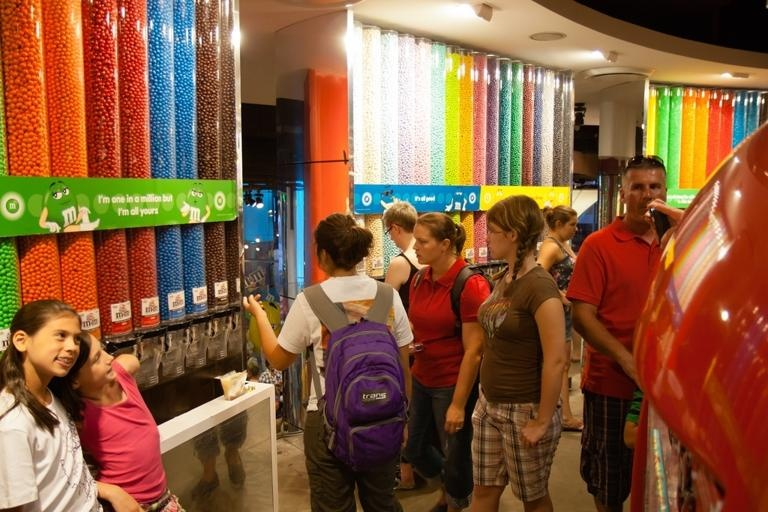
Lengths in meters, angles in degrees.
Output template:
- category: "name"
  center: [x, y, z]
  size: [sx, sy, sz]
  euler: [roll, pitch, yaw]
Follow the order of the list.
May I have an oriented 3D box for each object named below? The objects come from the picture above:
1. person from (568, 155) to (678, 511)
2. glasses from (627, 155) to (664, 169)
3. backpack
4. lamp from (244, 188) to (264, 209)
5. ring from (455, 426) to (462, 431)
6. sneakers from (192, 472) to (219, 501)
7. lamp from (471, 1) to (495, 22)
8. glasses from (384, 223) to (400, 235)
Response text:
- category: "person"
  center: [1.064, 0.554, 2.414]
  size: [0.421, 2.001, 0.974]
  euler: [1, 10, 26]
- category: "glasses"
  center: [1.237, -0.431, 2.478]
  size: [0.106, 0.106, 0.034]
  euler: [2, 53, 14]
- category: "backpack"
  center: [-0.105, 0.509, 2.120]
  size: [0.378, 0.751, 0.364]
  euler: [-5, 9, -11]
- category: "lamp"
  center: [-1.303, -0.558, 5.151]
  size: [0.126, 0.067, 0.199]
  euler: [-26, 44, -10]
- category: "ring"
  center: [0.385, 0.907, 2.698]
  size: [0.042, 0.021, 0.048]
  euler: [-3, -10, 0]
- category: "sneakers"
  center: [-0.769, 1.001, 2.222]
  size: [0.044, 0.051, 0.123]
  euler: [1, -3, 12]
- category: "lamp"
  center: [0.699, -1.757, 3.762]
  size: [0.143, 0.107, 0.114]
  euler: [1, 42, -32]
- category: "glasses"
  center: [0.055, -0.169, 3.399]
  size: [0.081, 0.024, 0.083]
  euler: [9, 11, -21]
